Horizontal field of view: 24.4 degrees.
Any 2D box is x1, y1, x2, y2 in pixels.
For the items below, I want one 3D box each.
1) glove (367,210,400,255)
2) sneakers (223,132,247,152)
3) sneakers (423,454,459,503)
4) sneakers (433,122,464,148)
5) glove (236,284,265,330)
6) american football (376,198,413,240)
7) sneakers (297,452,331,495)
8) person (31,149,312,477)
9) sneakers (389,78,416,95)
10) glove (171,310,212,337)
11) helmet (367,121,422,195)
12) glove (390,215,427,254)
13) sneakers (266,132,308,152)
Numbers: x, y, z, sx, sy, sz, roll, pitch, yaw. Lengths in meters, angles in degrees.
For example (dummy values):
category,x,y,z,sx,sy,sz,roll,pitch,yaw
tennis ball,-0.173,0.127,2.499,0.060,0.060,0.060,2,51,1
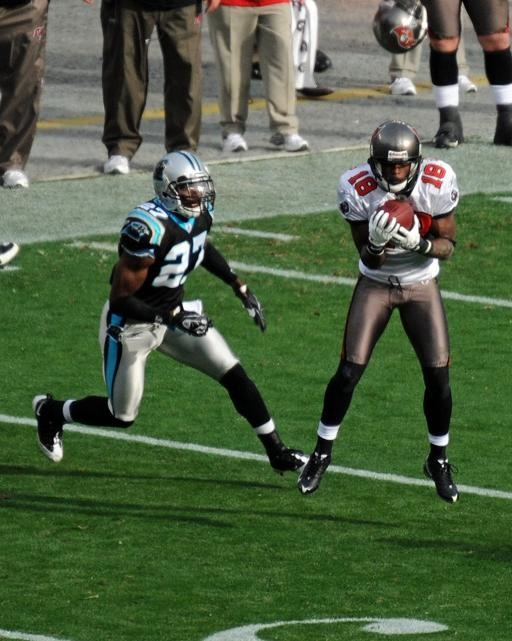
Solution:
category,x,y,z,sx,sy,sz,roll,pitch,yaw
glove,0.491,-0.340,4.559,0.114,0.185,0.214,10,16,4
sneakers,-0.164,-1.417,9.427,0.203,0.166,0.163,7,16,-4
sneakers,0.749,0.622,4.727,0.086,0.094,0.214,-11,39,-28
sneakers,1.559,-1.486,9.508,0.121,0.120,0.326,25,21,10
glove,-0.032,-0.061,5.951,0.087,0.246,0.108,-36,7,16
american football,0.566,-0.394,4.562,0.141,0.113,0.109,-11,26,42
sneakers,0.233,0.608,4.793,0.076,0.088,0.218,38,48,-7
person,-0.333,-0.009,4.855,0.990,1.361,0.613,4,17,-17
sneakers,1.460,-2.310,11.680,0.139,0.099,0.273,-3,4,-5
glove,-0.256,0.013,4.732,0.139,0.051,0.098,15,4,34
helmet,0.511,-0.637,4.690,0.231,0.239,0.280,-1,42,3
glove,0.584,-0.336,4.534,0.109,0.124,0.050,3,6,17
sneakers,0.283,-1.437,9.472,0.355,0.143,0.117,8,29,32
